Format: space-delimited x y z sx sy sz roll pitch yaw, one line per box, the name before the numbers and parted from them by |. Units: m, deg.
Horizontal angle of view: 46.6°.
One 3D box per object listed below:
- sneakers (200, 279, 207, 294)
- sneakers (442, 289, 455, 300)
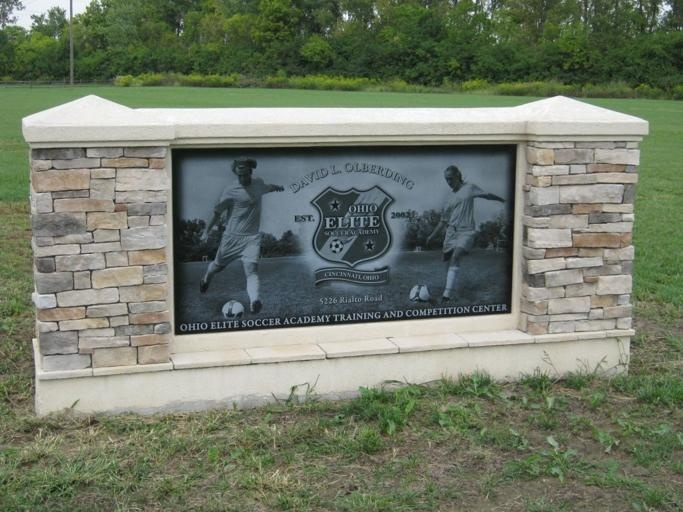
sneakers | -1.347 0.293 7.760 0.077 0.113 0.081 2 -8 -15
sneakers | 1.118 0.392 8.265 0.128 0.089 0.123 1 3 20
